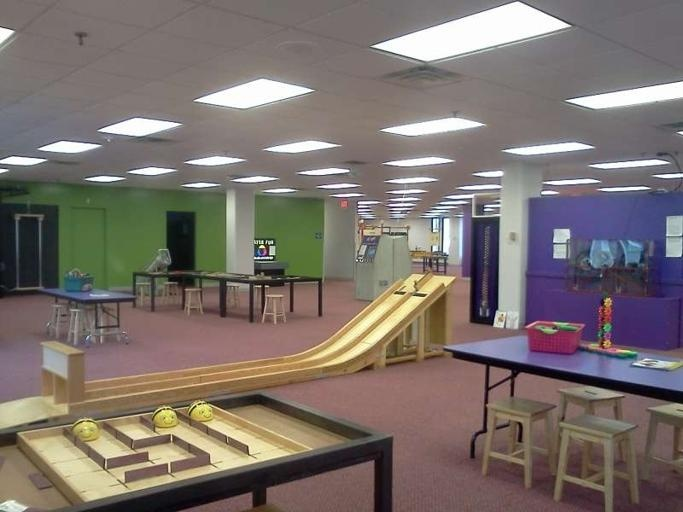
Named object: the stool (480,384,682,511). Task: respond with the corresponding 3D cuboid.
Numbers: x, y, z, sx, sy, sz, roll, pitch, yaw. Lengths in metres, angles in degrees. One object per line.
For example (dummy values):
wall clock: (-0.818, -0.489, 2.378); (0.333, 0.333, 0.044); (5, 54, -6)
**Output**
stool: (1.947, 1.563, 4.263); (0.962, 0.530, 0.969); (3, -2, -39)
